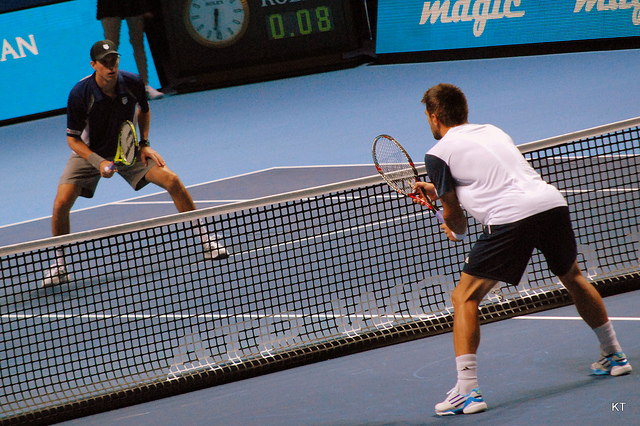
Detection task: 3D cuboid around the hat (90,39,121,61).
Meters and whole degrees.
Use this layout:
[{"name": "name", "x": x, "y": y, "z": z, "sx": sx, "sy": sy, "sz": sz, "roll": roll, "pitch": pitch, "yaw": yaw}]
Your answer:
[{"name": "hat", "x": -2.426, "y": -1.816, "z": 6.870, "sx": 0.267, "sy": 0.214, "sz": 0.400, "roll": -13, "pitch": 16, "yaw": -16}]

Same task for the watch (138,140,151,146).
[{"name": "watch", "x": -2.079, "y": -0.821, "z": 7.320, "sx": 0.079, "sy": 0.085, "sz": 0.089, "roll": -3, "pitch": -6, "yaw": 34}]

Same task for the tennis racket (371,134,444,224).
[{"name": "tennis racket", "x": 0.677, "y": -0.318, "z": 5.235, "sx": 0.099, "sy": 0.324, "sz": 1.152, "roll": -8, "pitch": 41, "yaw": -29}]

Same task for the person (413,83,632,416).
[{"name": "person", "x": 1.283, "y": 0.331, "z": 4.358, "sx": 1.364, "sy": 1.875, "sz": 0.683, "roll": -12, "pitch": 16, "yaw": -10}]

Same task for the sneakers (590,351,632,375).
[{"name": "sneakers", "x": 2.107, "y": 1.095, "z": 4.520, "sx": 0.294, "sy": 0.180, "sz": 0.131, "roll": -2, "pitch": -2, "yaw": 43}]

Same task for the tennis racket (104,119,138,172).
[{"name": "tennis racket", "x": -2.173, "y": -0.752, "z": 6.779, "sx": 0.351, "sy": 0.503, "sz": 0.280, "roll": -10, "pitch": 16, "yaw": -6}]

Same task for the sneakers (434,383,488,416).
[{"name": "sneakers", "x": 0.962, "y": 1.317, "z": 4.304, "sx": 0.154, "sy": 0.187, "sz": 0.405, "roll": 12, "pitch": -27, "yaw": -44}]
